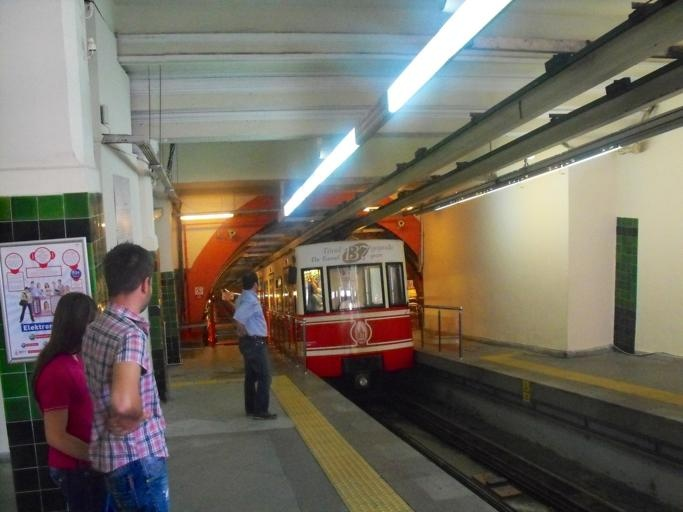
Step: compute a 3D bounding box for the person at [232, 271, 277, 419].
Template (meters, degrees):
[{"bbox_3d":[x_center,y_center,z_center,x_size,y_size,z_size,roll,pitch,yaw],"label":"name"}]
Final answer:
[{"bbox_3d":[-1.301,1.316,7.454,0.511,2.016,0.702,-3,1,-13],"label":"person"}]
